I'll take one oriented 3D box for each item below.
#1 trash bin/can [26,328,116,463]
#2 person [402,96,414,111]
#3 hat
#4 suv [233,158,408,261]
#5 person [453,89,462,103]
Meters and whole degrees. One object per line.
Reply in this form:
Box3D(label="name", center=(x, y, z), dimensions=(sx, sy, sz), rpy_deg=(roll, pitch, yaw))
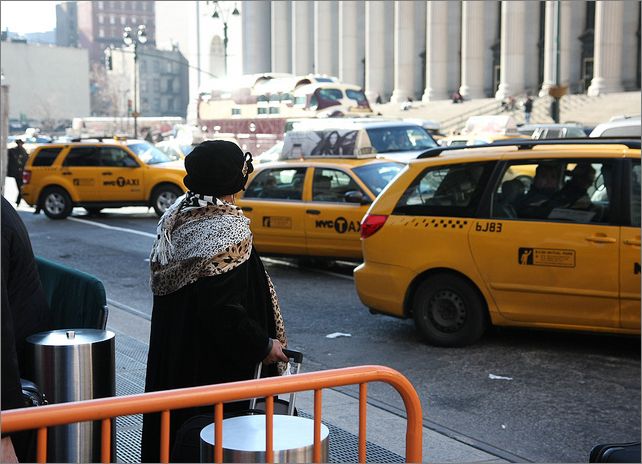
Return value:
Box3D(label="trash bin/can", center=(-1.593, 1.053, 5.271), dimensions=(0.554, 0.750, 0.790), rpy_deg=(-4, 10, -15))
Box3D(label="person", center=(6.029, -8.925, 56.189), dimensions=(0.791, 0.849, 1.729), rpy_deg=(-1, 10, 6))
Box3D(label="hat", center=(-0.661, -0.441, 5.093), dimensions=(0.448, 0.255, 0.391), rpy_deg=(-7, 28, -36))
Box3D(label="suv", center=(-0.141, -0.409, 12.837), dimensions=(3.053, 0.941, 1.282), rpy_deg=(-1, 3, 18))
Box3D(label="person", center=(9.350, -9.197, 54.963), dimensions=(0.305, 0.772, 0.550), rpy_deg=(19, -2, -21))
